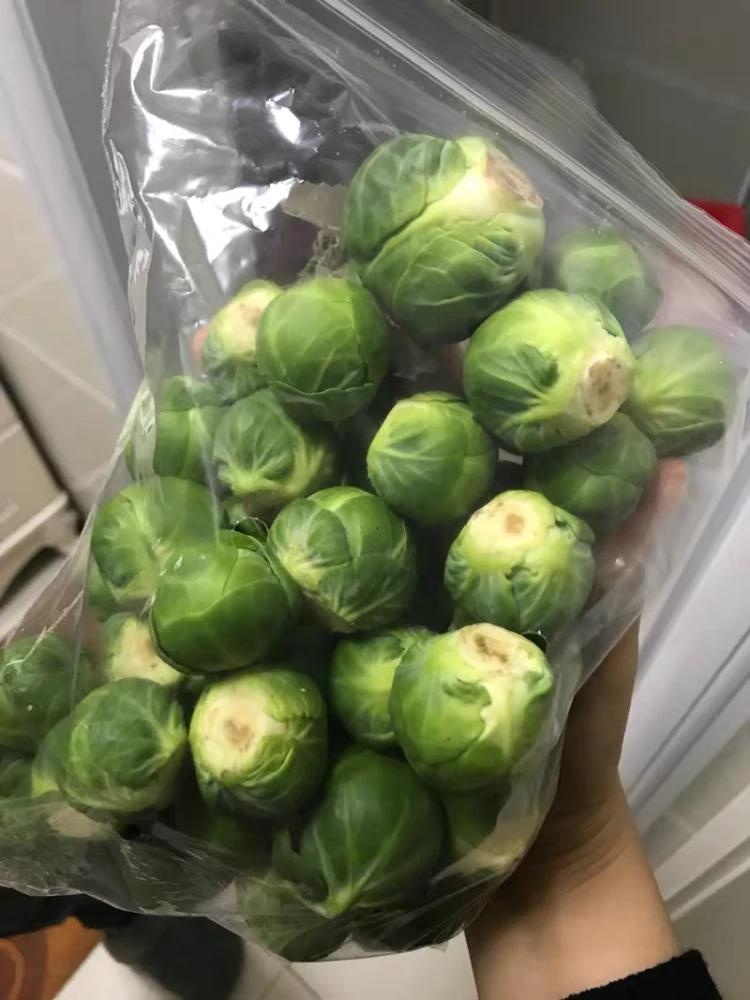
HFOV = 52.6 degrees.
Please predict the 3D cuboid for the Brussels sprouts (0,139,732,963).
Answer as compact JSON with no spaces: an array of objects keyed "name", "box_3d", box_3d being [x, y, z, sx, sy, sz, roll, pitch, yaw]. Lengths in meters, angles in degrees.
[{"name":"Brussels sprouts","box_3d":[0.022,0.056,0.656,0.420,0.290,0.660,27,94,18]}]
